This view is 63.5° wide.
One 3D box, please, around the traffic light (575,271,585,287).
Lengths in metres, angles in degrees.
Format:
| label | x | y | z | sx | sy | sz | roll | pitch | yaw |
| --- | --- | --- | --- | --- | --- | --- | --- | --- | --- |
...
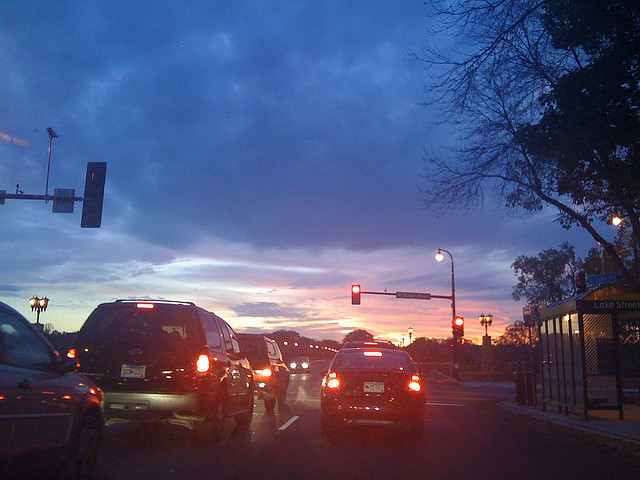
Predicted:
| label | x | y | z | sx | sy | sz | roll | pitch | yaw |
| --- | --- | --- | --- | --- | --- | --- | --- | --- | --- |
| traffic light | 9.246 | 1.415 | 18.388 | 0.220 | 0.528 | 0.424 | -7 | -15 | 24 |

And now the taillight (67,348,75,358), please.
| label | x | y | z | sx | sy | sz | roll | pitch | yaw |
| --- | --- | --- | --- | --- | --- | --- | --- | --- | --- |
| taillight | -4.475 | 2.015 | 9.312 | 0.116 | 0.150 | 0.287 | 6 | -15 | -26 |

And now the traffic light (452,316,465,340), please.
| label | x | y | z | sx | sy | sz | roll | pitch | yaw |
| --- | --- | --- | --- | --- | --- | --- | --- | --- | --- |
| traffic light | 10.431 | 6.652 | 39.268 | 0.697 | 1.624 | 0.954 | -1 | -13 | 1 |

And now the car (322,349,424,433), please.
| label | x | y | z | sx | sy | sz | roll | pitch | yaw |
| --- | --- | --- | --- | --- | --- | --- | --- | --- | --- |
| car | 1.167 | 3.279 | 11.571 | 1.324 | 0.980 | 2.263 | 0 | -5 | 4 |

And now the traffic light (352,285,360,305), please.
| label | x | y | z | sx | sy | sz | roll | pitch | yaw |
| --- | --- | --- | --- | --- | --- | --- | --- | --- | --- |
| traffic light | 2.610 | 4.033 | 38.003 | 0.654 | 1.324 | 0.449 | 2 | -14 | -11 |

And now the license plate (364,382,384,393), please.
| label | x | y | z | sx | sy | sz | roll | pitch | yaw |
| --- | --- | --- | --- | --- | --- | --- | --- | --- | --- |
| license plate | 1.101 | 3.021 | 10.617 | 0.400 | 0.199 | 0.044 | -2 | -13 | 4 |

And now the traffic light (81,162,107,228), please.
| label | x | y | z | sx | sy | sz | roll | pitch | yaw |
| --- | --- | --- | --- | --- | --- | --- | --- | --- | --- |
| traffic light | -7.980 | -1.596 | 18.266 | 0.698 | 2.246 | 0.531 | 1 | -14 | -8 |

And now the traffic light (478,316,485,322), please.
| label | x | y | z | sx | sy | sz | roll | pitch | yaw |
| --- | --- | --- | --- | --- | --- | --- | --- | --- | --- |
| traffic light | 12.604 | 6.179 | 40.580 | 0.576 | 0.440 | 0.301 | 12 | -18 | -42 |

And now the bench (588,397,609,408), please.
| label | x | y | z | sx | sy | sz | roll | pitch | yaw |
| --- | --- | --- | --- | --- | --- | --- | --- | --- | --- |
| bench | 8.493 | 4.921 | 15.845 | 0.528 | 0.210 | 0.227 | -6 | -15 | 23 |
